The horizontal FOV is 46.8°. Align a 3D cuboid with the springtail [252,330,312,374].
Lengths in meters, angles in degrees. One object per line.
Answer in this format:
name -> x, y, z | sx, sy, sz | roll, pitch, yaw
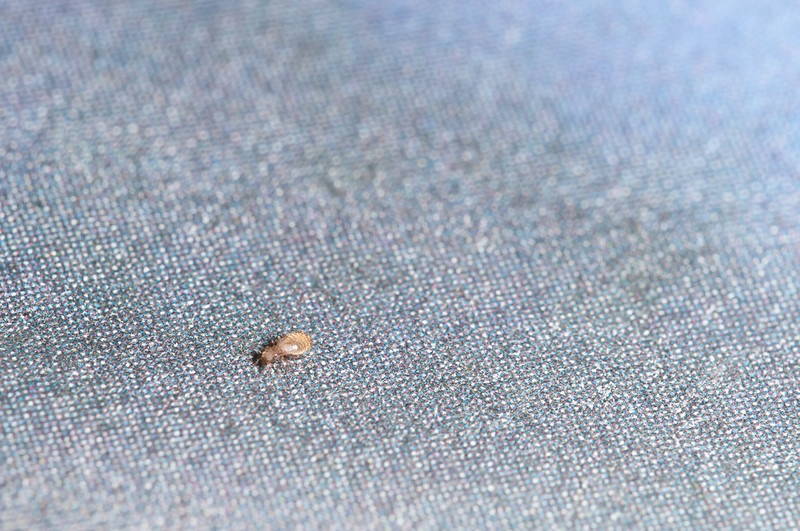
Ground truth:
springtail -> -0.177, 0.136, 1.436 | 0.084, 0.051, 0.036 | -21, -21, 5
